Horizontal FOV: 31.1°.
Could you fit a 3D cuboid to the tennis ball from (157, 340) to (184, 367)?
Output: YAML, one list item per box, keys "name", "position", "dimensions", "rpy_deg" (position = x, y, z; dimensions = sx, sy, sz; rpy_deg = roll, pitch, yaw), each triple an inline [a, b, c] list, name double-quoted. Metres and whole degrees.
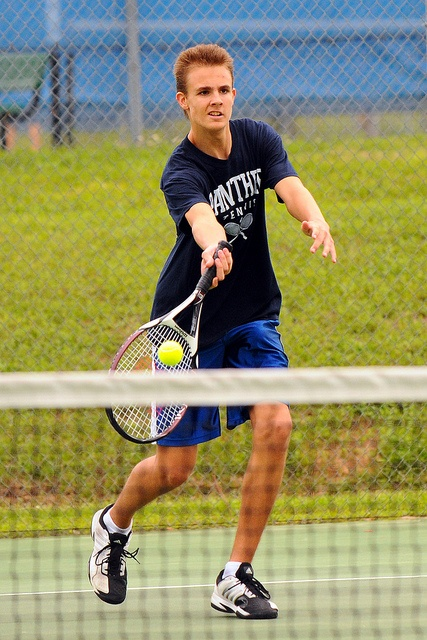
- name: "tennis ball"
  position: [-0.124, 0.086, 2.105]
  dimensions: [0.071, 0.063, 0.066]
  rpy_deg: [-7, 15, 2]

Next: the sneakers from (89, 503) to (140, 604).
- name: "sneakers"
  position: [-0.344, 0.755, 2.496]
  dimensions: [0.134, 0.127, 0.295]
  rpy_deg: [4, 52, -31]

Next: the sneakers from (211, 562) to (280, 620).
- name: "sneakers"
  position: [0.089, 0.791, 2.233]
  dimensions: [0.097, 0.130, 0.239]
  rpy_deg: [12, -11, -38]
